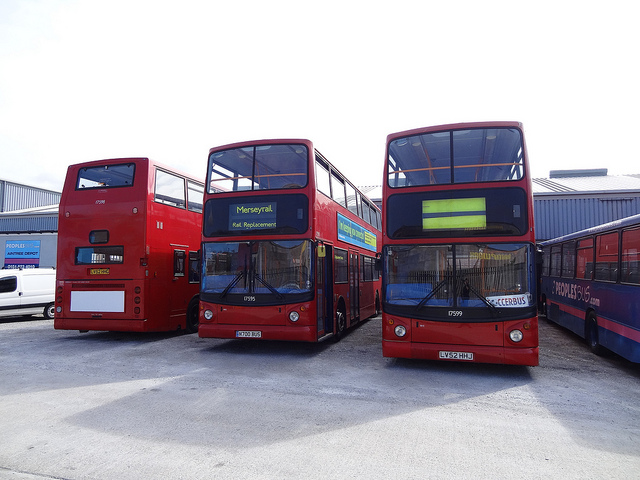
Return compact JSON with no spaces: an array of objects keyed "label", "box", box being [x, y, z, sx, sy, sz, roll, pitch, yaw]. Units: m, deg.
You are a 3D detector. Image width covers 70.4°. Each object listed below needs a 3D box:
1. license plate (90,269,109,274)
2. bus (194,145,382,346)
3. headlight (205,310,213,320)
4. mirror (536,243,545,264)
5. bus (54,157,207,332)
[{"label":"license plate","box":[-6.259,0.913,12.883,0.607,0.137,0.012,0,0,15]},{"label":"bus","box":[0.091,0.516,16.137,2.991,5.297,10.831,-2,-6,18]},{"label":"headlight","box":[-2.761,1.892,11.281,0.191,0.201,0.197,1,-6,44]},{"label":"mirror","box":[4.657,0.305,9.656,0.125,0.412,1.377,1,-1,25]},{"label":"bus","box":[-5.502,0.283,13.410,3.909,5.190,2.193,0,0,-29]}]
